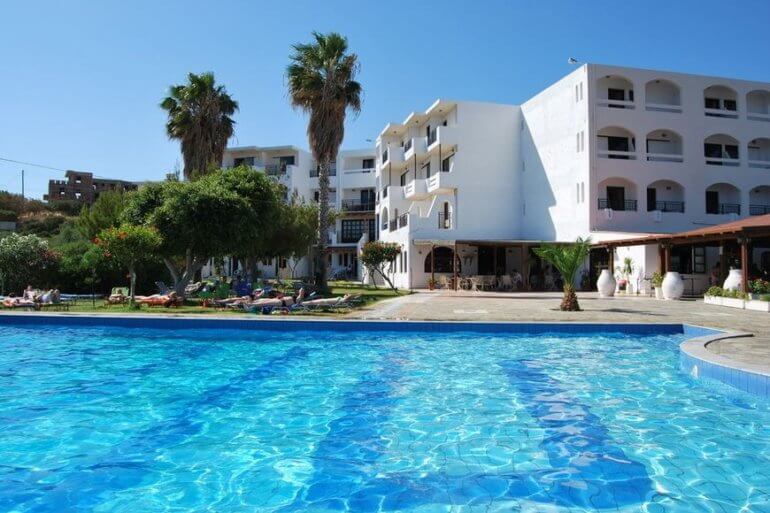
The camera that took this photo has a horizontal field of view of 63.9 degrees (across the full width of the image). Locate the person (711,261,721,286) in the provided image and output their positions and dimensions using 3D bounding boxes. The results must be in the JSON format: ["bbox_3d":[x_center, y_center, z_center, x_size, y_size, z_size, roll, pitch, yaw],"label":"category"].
[{"bbox_3d":[16.652,0.925,31.033,0.373,0.950,2.376,-1,-2,27],"label":"person"}]

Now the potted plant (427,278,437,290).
[{"bbox_3d":[2.909,1.674,38.834,0.591,0.662,0.661,-3,-4,30],"label":"potted plant"}]

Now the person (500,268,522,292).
[{"bbox_3d":[7.945,1.534,38.575,1.218,1.353,1.068,2,-4,5],"label":"person"}]

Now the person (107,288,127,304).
[{"bbox_3d":[-11.912,1.715,27.539,0.710,0.619,1.005,1,1,-6],"label":"person"}]

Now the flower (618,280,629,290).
[{"bbox_3d":[13.415,1.540,34.603,0.504,0.755,0.420,0,1,11],"label":"flower"}]

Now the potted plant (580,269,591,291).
[{"bbox_3d":[12.291,1.387,37.791,0.576,1.279,1.261,0,-2,17],"label":"potted plant"}]

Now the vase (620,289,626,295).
[{"bbox_3d":[13.378,1.955,34.640,0.359,0.257,0.365,-1,-6,8],"label":"vase"}]

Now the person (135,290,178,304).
[{"bbox_3d":[-9.839,1.821,26.696,0.981,0.355,1.005,-4,0,13],"label":"person"}]
